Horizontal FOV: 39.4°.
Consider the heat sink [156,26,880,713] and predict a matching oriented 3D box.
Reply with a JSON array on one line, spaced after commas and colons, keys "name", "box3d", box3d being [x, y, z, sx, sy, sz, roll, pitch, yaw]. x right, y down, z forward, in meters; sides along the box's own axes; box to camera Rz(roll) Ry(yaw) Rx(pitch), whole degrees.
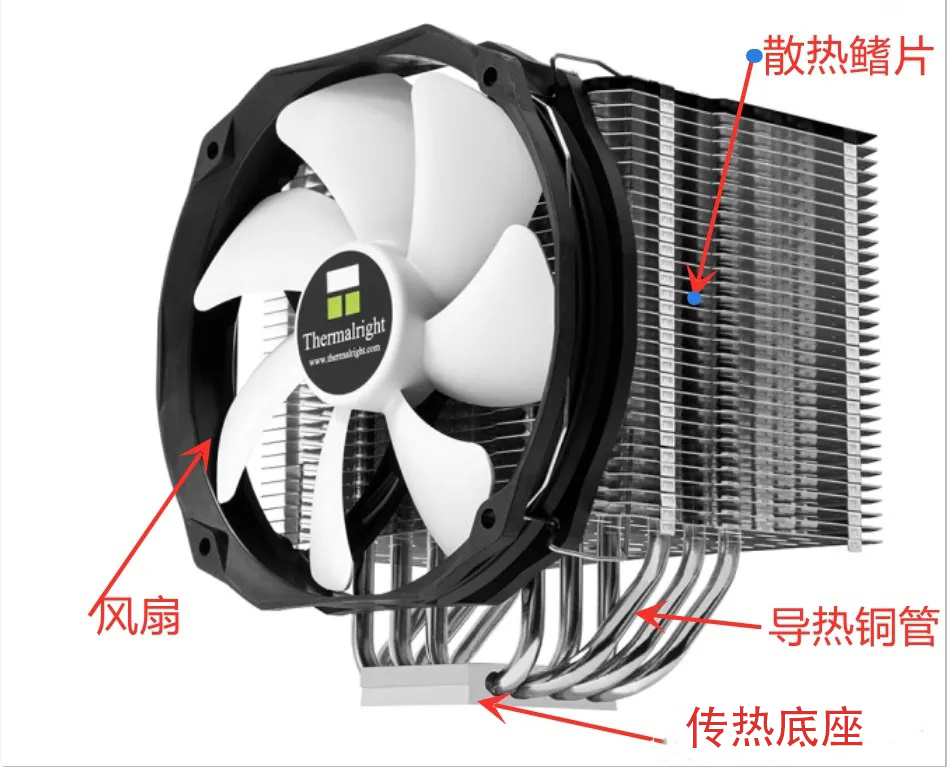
[{"name": "heat sink", "box3d": [0.083, -0.012, 5.440, 2.740, 2.664, 1.395, 0, -8, 25]}]
